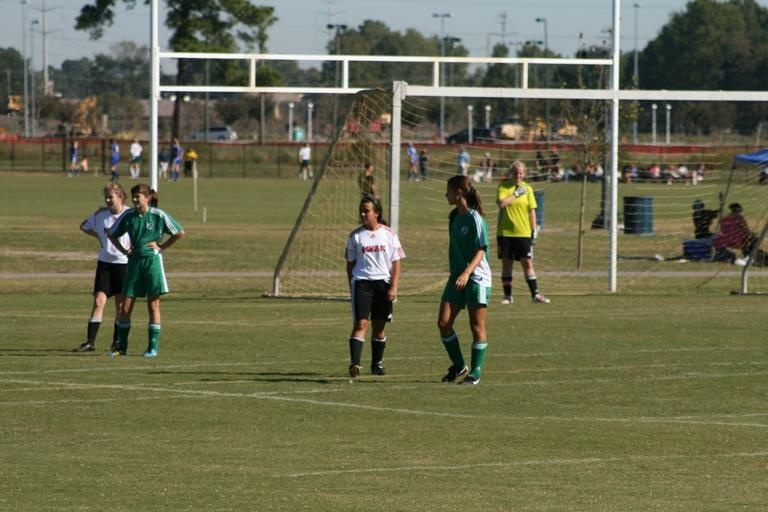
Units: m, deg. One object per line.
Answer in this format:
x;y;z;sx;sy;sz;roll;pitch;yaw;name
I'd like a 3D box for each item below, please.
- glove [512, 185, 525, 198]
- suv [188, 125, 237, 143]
4.515;-2.065;62.501;0.354;0.160;0.385;8;-39;-10;glove
-9.129;-6.410;101.578;2.681;0.763;1.115;3;4;10;suv
